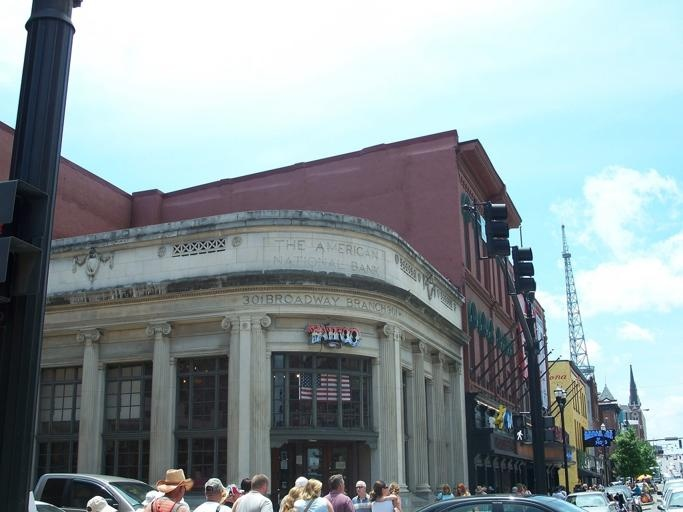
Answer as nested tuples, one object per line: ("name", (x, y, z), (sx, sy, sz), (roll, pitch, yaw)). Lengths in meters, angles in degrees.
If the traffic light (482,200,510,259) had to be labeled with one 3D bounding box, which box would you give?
("traffic light", (2.981, -0.488, 14.585), (0.402, 1.154, 0.245), (-1, -21, 8))
